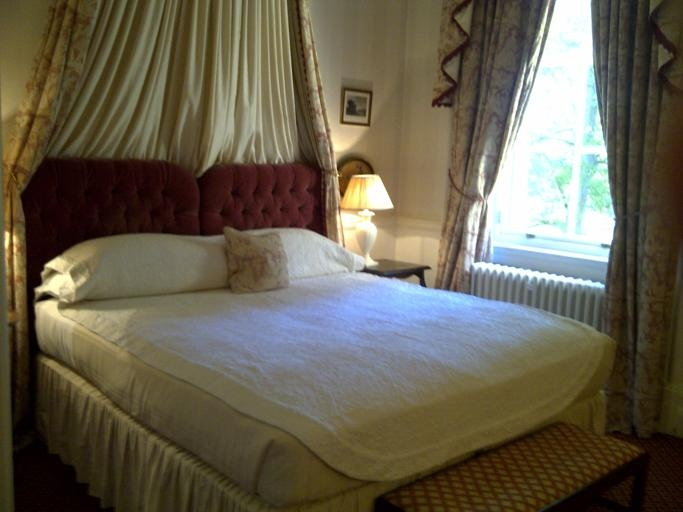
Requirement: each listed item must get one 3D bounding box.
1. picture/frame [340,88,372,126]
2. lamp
[{"bbox_3d":[0.114,-1.294,4.784,0.312,0.329,0.026,-2,8,-37],"label":"picture/frame"},{"bbox_3d":[0.202,-0.299,4.612,0.400,0.761,0.414,0,7,6],"label":"lamp"}]
